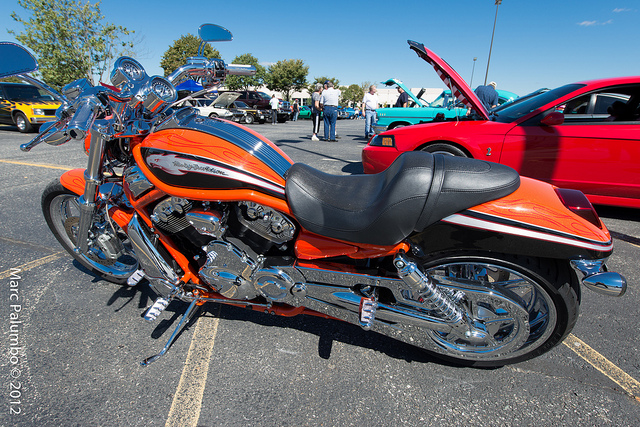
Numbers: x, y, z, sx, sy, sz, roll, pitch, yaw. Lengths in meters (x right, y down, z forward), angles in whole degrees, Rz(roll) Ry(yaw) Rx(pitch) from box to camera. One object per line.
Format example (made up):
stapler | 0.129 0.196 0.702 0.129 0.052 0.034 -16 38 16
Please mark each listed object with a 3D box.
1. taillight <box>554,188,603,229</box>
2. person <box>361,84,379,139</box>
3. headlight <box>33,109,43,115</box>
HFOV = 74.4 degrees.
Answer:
taillight | 1.960 -0.053 3.202 0.356 0.209 0.282 11 26 24
person | 1.653 -3.201 13.405 0.702 1.705 0.527 -10 20 -29
headlight | -8.491 -3.046 12.662 0.172 0.157 0.046 8 -2 -2
